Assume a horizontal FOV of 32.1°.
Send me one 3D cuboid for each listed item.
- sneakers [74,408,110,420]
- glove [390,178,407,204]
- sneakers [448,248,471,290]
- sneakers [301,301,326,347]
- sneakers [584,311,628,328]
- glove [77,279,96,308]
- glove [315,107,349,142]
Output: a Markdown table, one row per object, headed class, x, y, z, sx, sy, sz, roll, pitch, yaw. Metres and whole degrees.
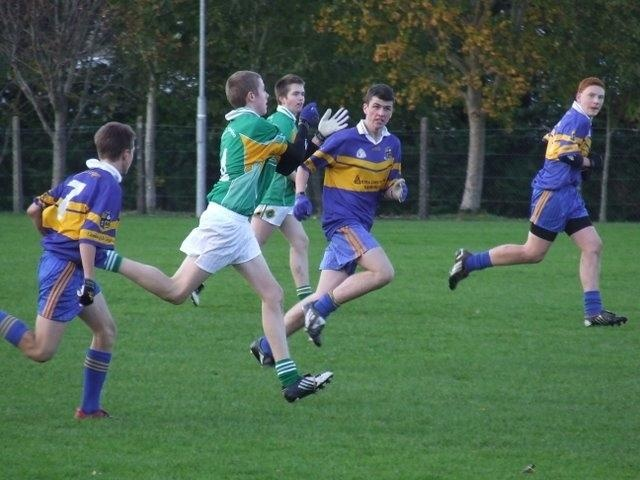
| class | x | y | z | sx | sy | sz | roll | pitch | yaw |
| --- | --- | --- | --- | --- | --- | --- | --- | --- | --- |
| sneakers | -2.201 | 1.680 | 10.803 | 0.328 | 0.113 | 0.117 | 1 | 0 | -12 |
| glove | 0.903 | -0.550 | 12.368 | 0.111 | 0.244 | 0.206 | 11 | -19 | 28 |
| sneakers | 1.737 | 0.328 | 13.772 | 0.263 | 0.563 | 0.205 | 13 | 32 | -5 |
| sneakers | -0.033 | 0.896 | 11.998 | 0.230 | 0.504 | 0.169 | -14 | 10 | 2 |
| sneakers | 3.305 | 0.903 | 12.672 | 0.521 | 0.220 | 0.191 | -5 | -3 | 21 |
| glove | -2.202 | 0.504 | 10.579 | 0.174 | 0.235 | 0.093 | 18 | 0 | -37 |
| glove | 0.175 | -1.275 | 12.243 | 0.255 | 0.404 | 0.104 | 49 | 0 | 11 |
